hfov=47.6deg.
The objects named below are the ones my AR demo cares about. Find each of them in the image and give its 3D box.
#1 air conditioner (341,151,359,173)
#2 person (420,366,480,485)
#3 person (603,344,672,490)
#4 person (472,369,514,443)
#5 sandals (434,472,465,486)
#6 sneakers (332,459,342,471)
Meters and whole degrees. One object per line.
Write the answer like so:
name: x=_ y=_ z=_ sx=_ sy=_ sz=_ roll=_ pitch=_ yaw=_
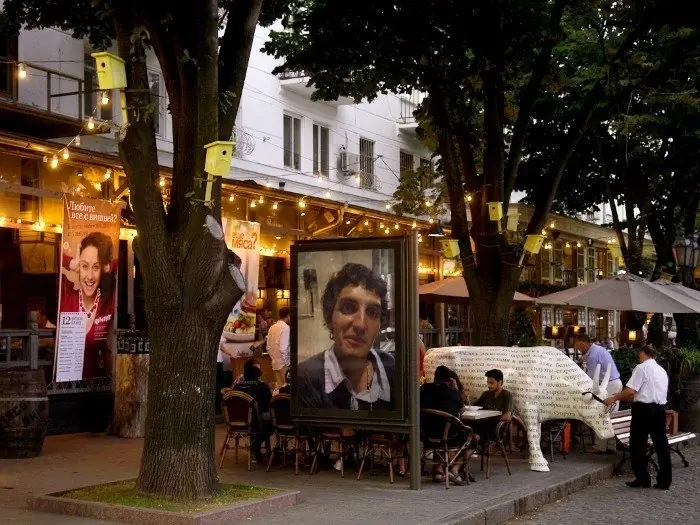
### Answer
air conditioner: x=-0.033 y=-3.579 z=28.505 sx=0.384 sy=0.655 sz=0.677 roll=-5 pitch=-10 yaw=32
person: x=1.576 y=2.596 z=12.805 sx=0.908 sy=1.839 sz=0.653 roll=1 pitch=-7 yaw=7
person: x=5.061 y=2.607 z=13.595 sx=0.825 sy=2.410 sz=0.785 roll=-1 pitch=-7 yaw=24
person: x=2.413 y=2.541 z=13.858 sx=0.724 sy=1.356 sz=0.705 roll=-4 pitch=9 yaw=-26
sandals: x=1.593 y=3.443 z=12.626 sx=0.493 sy=0.168 sz=0.206 roll=4 pitch=-6 yaw=-20
sneakers: x=-0.221 y=3.442 z=13.468 sx=0.151 sy=0.280 sz=0.256 roll=-1 pitch=-1 yaw=-2
